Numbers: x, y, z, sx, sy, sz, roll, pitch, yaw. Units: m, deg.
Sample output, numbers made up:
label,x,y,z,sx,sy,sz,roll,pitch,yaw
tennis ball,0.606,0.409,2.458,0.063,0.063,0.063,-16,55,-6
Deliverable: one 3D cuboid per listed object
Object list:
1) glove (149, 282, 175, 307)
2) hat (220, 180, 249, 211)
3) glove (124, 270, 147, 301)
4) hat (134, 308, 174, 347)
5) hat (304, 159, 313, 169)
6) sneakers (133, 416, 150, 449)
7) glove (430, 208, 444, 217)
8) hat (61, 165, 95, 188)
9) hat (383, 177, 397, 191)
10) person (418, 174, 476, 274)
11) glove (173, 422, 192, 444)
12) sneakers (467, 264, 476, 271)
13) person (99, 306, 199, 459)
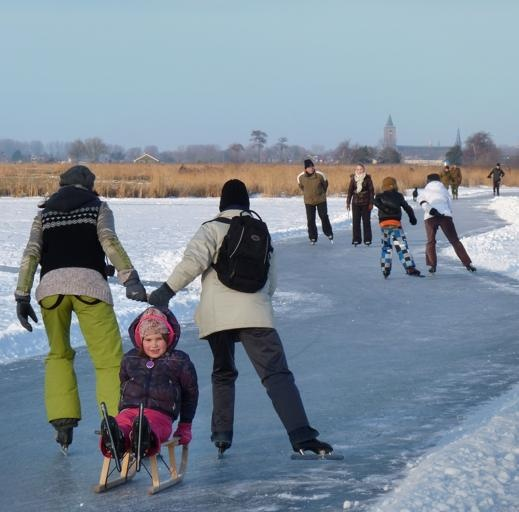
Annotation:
label,x,y,z,sx,sy,sz,roll,pitch,yaw
glove,-0.637,0.245,4.740,0.177,0.150,0.263,0,6,9
hat,-0.184,-0.412,5.117,0.169,0.223,0.224,0,-6,-10
glove,-0.848,0.230,5.157,0.156,0.219,0.078,-14,-31,-5
hat,-0.652,0.417,4.602,0.179,0.268,0.116,-1,8,-1
hat,1.193,-2.312,18.579,0.214,0.218,0.469,-1,6,2
sneakers,-0.644,0.961,4.100,0.066,0.208,0.085,3,-2,-2
glove,3.126,-0.786,13.399,0.224,0.157,0.084,-3,6,-17
hat,-1.340,-0.620,5.506,0.176,0.208,0.226,3,14,-5
hat,2.348,-1.323,13.715,0.208,0.284,0.290,2,13,8
person,3.312,-0.601,13.646,0.838,1.809,0.625,0,6,9
glove,-0.476,1.107,4.652,0.092,0.133,0.131,8,-33,-5
sneakers,3.923,0.205,13.974,0.108,0.058,0.160,4,-16,10
person,-0.670,0.778,4.485,0.478,0.900,0.892,0,6,12
